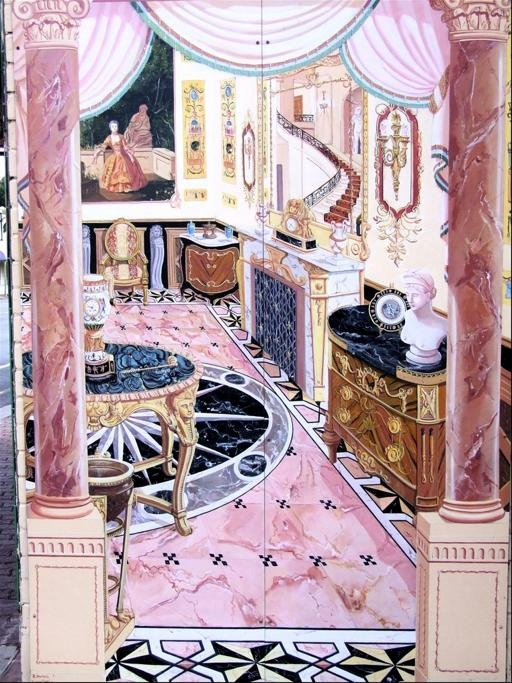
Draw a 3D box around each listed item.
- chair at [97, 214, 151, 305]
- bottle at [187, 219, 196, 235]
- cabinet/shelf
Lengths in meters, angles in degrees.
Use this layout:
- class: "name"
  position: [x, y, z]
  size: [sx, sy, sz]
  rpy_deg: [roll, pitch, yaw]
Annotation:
- class: "chair"
  position: [-0.499, -0.291, 2.634]
  size: [0.198, 0.283, 0.203]
  rpy_deg: [15, 25, 31]
- class: "bottle"
  position: [-0.251, -0.439, 2.709]
  size: [0.031, 0.051, 0.011]
  rpy_deg: [-2, 5, -8]
- class: "cabinet/shelf"
  position: [0.585, 0.277, 2.898]
  size: [0.420, 0.680, 0.673]
  rpy_deg: [-21, 31, -27]
